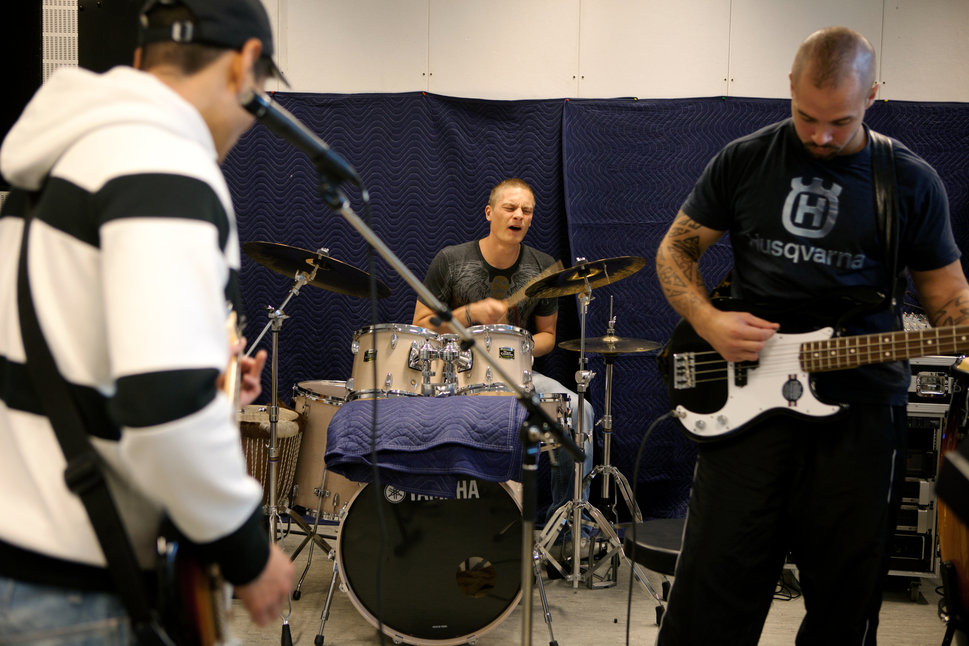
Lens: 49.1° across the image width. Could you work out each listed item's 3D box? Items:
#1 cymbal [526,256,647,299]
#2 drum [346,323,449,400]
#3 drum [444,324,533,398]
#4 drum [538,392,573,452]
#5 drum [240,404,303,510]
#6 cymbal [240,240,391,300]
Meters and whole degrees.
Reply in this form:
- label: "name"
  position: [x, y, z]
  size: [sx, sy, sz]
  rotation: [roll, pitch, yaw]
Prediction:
- label: "cymbal"
  position: [0.447, -0.217, 4.904]
  size: [0.536, 0.213, 0.364]
  rotation: [-3, 10, -33]
- label: "drum"
  position: [-0.375, 0.160, 4.525]
  size: [0.450, 0.309, 0.343]
  rotation: [3, 9, 7]
- label: "drum"
  position: [0.042, 0.154, 4.699]
  size: [0.312, 0.291, 0.581]
  rotation: [4, 9, 9]
- label: "drum"
  position: [0.328, 0.449, 4.743]
  size: [0.220, 0.276, 0.081]
  rotation: [5, 3, 23]
- label: "drum"
  position: [-1.037, 0.680, 5.096]
  size: [0.240, 0.355, 0.243]
  rotation: [-6, 0, 0]
- label: "cymbal"
  position: [-0.805, -0.264, 4.860]
  size: [0.372, 0.083, 0.399]
  rotation: [9, -18, 24]
